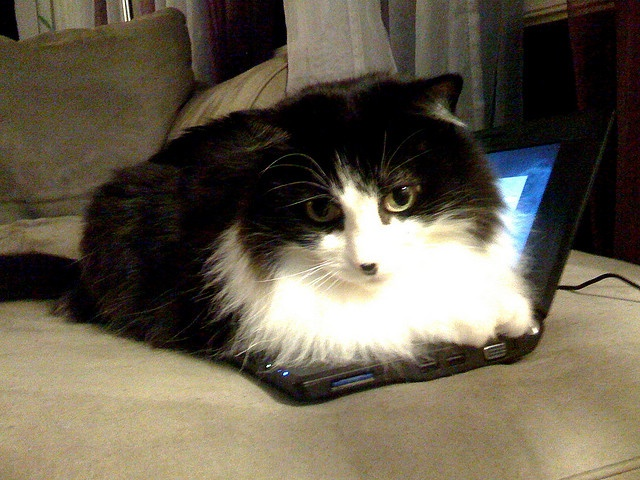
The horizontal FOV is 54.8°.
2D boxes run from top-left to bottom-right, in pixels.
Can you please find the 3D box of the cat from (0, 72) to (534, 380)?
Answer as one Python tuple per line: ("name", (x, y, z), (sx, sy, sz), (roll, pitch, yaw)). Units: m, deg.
("cat", (-0.201, -0.022, 1.414), (1.251, 0.344, 0.598), (-1, 1, 30))
